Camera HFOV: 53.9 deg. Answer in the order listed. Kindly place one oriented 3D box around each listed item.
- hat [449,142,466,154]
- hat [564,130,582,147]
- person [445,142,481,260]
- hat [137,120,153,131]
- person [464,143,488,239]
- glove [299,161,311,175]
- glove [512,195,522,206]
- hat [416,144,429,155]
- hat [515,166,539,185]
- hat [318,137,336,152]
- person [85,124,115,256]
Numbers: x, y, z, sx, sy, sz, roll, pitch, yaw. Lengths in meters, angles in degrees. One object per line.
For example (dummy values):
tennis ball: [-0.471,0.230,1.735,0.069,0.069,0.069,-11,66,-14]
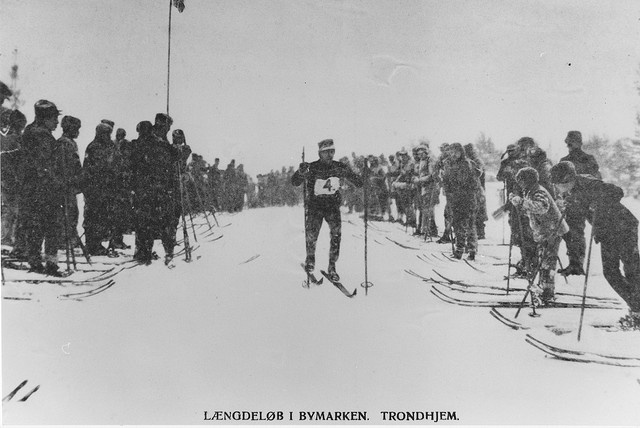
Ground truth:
hat: [1.871,-0.906,8.657,0.192,0.166,0.093,-1,-2,12]
hat: [3.338,-1.006,8.379,0.172,0.223,0.229,-1,6,9]
person: [1.967,-0.149,8.968,0.546,1.796,0.541,3,-18,10]
hat: [-2.429,-1.197,8.728,0.188,0.204,0.058,6,1,4]
person: [2.158,-0.310,8.706,0.223,1.320,0.342,-2,-3,31]
glove: [-0.209,-0.625,8.545,0.131,0.138,0.033,2,-5,11]
glove: [2.609,-0.180,8.376,0.112,0.122,0.029,1,-10,13]
hat: [1.418,-0.901,8.689,0.153,0.129,0.096,-1,-2,8]
hat: [2.727,-0.499,8.307,0.185,0.253,0.203,2,-18,15]
hat: [0.088,-0.936,8.615,0.184,0.198,0.246,-5,-12,-2]
person: [-3.060,-0.345,8.737,0.428,1.839,0.171,0,-2,-13]
